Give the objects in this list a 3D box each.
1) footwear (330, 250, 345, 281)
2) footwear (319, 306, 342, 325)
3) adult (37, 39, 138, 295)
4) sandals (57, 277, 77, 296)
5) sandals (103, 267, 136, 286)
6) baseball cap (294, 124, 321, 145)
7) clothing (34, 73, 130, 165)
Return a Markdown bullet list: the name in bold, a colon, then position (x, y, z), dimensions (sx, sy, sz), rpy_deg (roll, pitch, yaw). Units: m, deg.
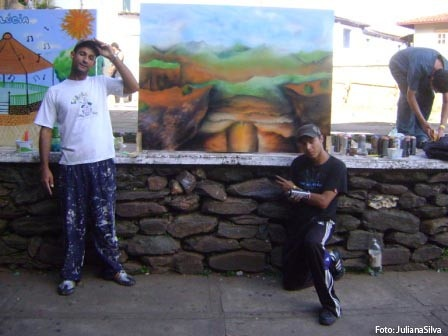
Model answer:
- **footwear**: position (1.315, 1.130, 5.377), dimensions (0.134, 0.379, 0.183), rpy_deg (0, 9, 39)
- **footwear**: position (1.071, 1.485, 4.718), dimensions (0.224, 0.132, 0.268), rpy_deg (6, 12, 23)
- **adult**: position (-1.573, -0.041, 5.308), dimensions (1.254, 2.782, 0.593), rpy_deg (-3, -2, -4)
- **sandals**: position (-1.731, 1.303, 5.105), dimensions (0.209, 0.136, 0.181), rpy_deg (-3, 12, -21)
- **sandals**: position (-1.182, 1.246, 5.364), dimensions (0.394, 0.158, 0.151), rpy_deg (10, 12, 3)
- **baseball cap**: position (0.958, -0.385, 5.141), dimensions (0.265, 0.181, 0.177), rpy_deg (3, 12, 10)
- **clothing**: position (-1.667, -0.558, 5.310), dimensions (1.254, 1.098, 0.705), rpy_deg (-4, 3, -41)
